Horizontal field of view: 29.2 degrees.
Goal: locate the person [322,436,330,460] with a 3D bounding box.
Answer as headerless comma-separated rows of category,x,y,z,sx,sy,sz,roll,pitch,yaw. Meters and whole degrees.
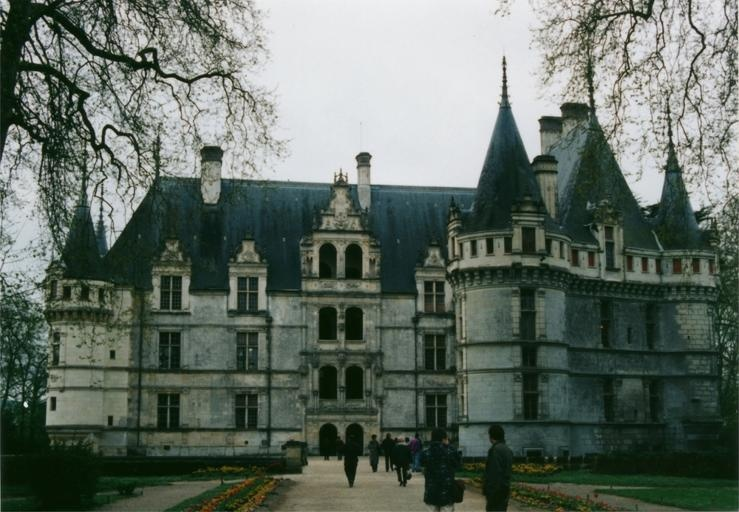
person,-2.297,10.471,77.405,0.442,1.079,0.658,1,-12,-4
